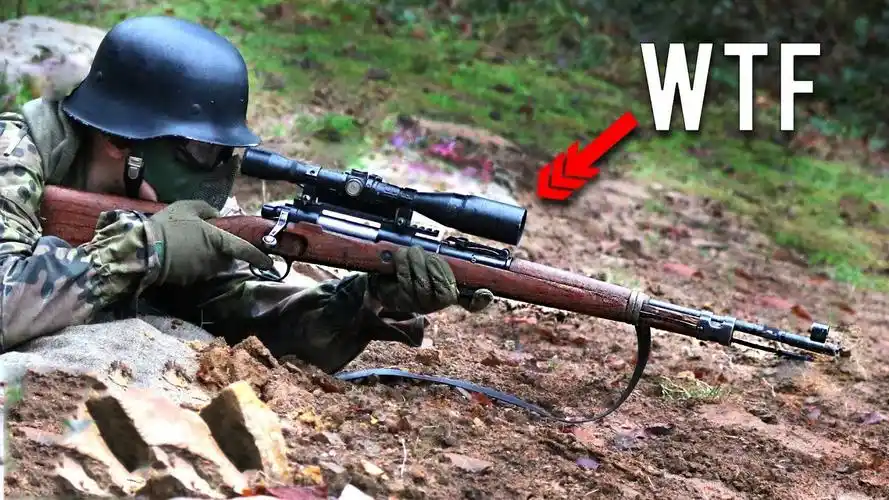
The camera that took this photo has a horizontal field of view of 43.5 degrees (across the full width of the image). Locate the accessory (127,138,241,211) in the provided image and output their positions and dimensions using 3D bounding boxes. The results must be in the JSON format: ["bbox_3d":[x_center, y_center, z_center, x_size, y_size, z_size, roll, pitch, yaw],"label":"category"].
[{"bbox_3d":[-2.417,-0.690,10.255,0.806,0.454,0.615,22,5,4],"label":"accessory"}]
